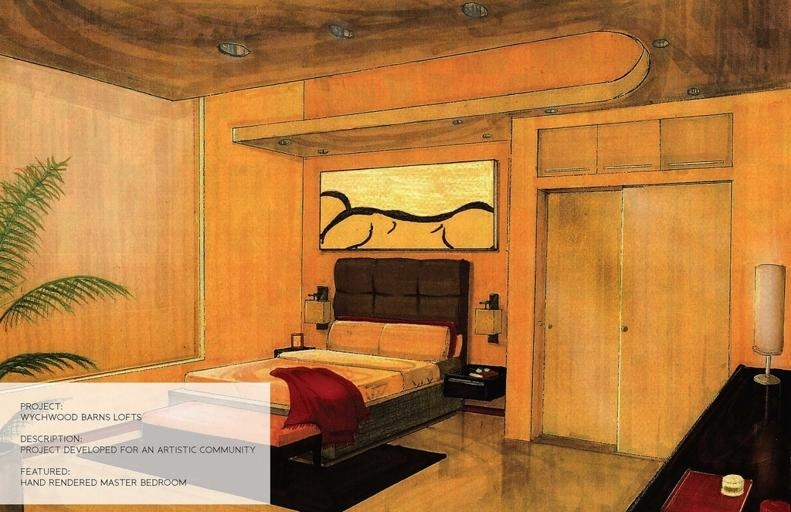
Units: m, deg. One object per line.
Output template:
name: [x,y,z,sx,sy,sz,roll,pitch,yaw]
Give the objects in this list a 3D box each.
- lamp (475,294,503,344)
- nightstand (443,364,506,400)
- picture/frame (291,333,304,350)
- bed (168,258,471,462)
lamp: [1.078,0.739,8.746,0.337,0.611,0.466,2,15,5]
nightstand: [1.060,1.494,8.596,0.593,0.221,0.791,-1,-5,42]
picture/frame: [-1.242,1.104,9.864,0.181,0.164,0.174,1,-1,-39]
bed: [-0.822,1.015,8.614,2.497,1.613,2.525,0,8,42]
